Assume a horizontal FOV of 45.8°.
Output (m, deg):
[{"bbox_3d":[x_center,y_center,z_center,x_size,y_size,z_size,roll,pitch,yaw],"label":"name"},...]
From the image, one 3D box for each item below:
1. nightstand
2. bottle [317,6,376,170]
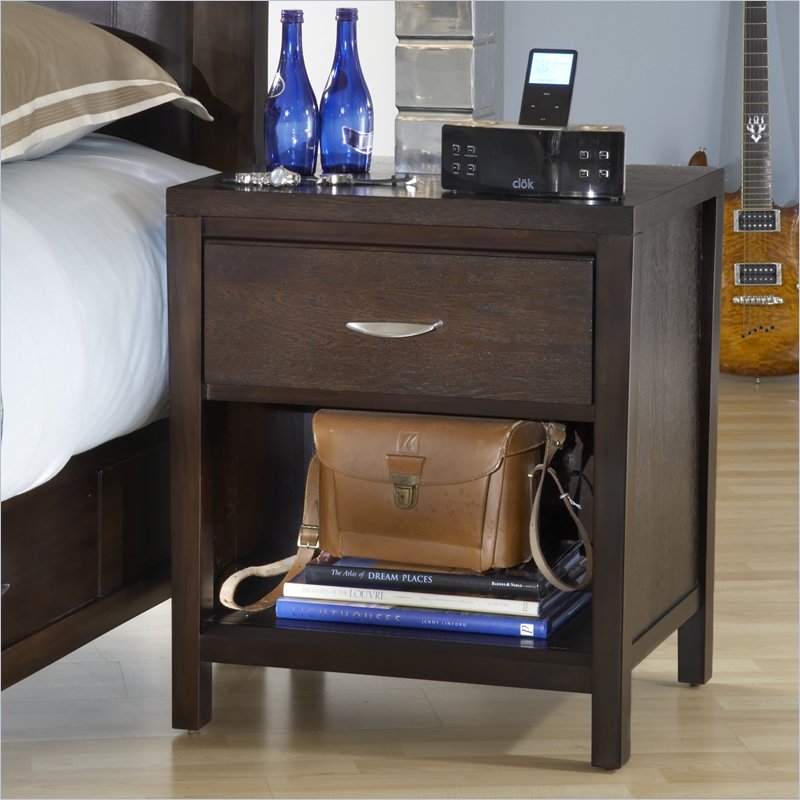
[{"bbox_3d":[0.023,0.063,1.188,0.513,0.601,0.412,2,6,6],"label":"nightstand"},{"bbox_3d":[-0.070,-0.388,1.199,0.069,0.211,0.148,-1,8,-5],"label":"bottle"}]
